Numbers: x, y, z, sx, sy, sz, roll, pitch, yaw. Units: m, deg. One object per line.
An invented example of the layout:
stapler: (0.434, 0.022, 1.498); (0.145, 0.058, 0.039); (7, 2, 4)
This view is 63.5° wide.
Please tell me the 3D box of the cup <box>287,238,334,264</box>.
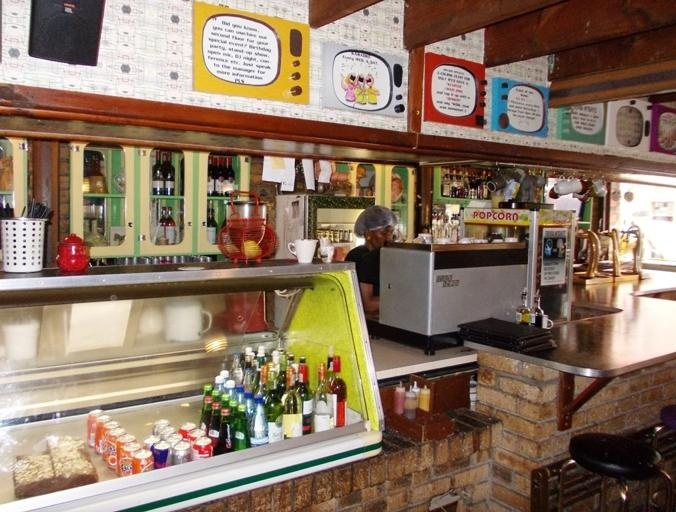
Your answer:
cup: (-0.112, -0.018, 2.570); (0.124, 0.087, 0.188); (-1, -1, 42)

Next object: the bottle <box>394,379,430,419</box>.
bottle: (0.376, 0.727, 2.810); (0.214, 0.222, 0.144); (2, -3, -15)

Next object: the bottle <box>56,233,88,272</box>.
bottle: (-1.029, -0.009, 2.156); (0.114, 0.148, 0.142); (2, 4, -11)

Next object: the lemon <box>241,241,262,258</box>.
lemon: (-0.376, -0.032, 2.378); (0.072, 0.073, 0.073); (9, -16, -2)
